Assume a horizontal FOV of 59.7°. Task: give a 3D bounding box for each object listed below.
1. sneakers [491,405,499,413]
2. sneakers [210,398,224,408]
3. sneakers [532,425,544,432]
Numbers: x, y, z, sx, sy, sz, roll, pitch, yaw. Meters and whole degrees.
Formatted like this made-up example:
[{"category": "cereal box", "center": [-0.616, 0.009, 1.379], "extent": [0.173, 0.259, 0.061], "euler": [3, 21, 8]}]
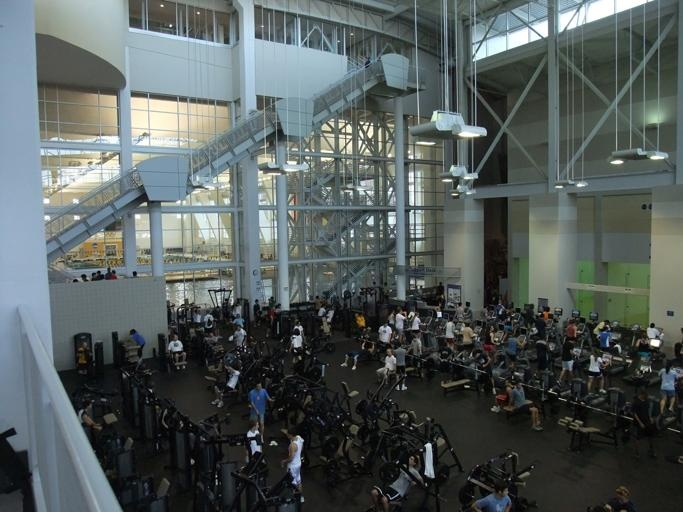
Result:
[{"category": "sneakers", "center": [4.755, 4.749, 18.500], "extent": [0.140, 0.103, 0.215], "euler": [-3, 1, -40]}, {"category": "sneakers", "center": [-3.970, 4.748, 19.089], "extent": [0.469, 0.219, 0.178], "euler": [6, -1, -13]}, {"category": "sneakers", "center": [5.720, 5.028, 17.403], "extent": [0.305, 0.237, 0.130], "euler": [-5, -3, 38]}]
